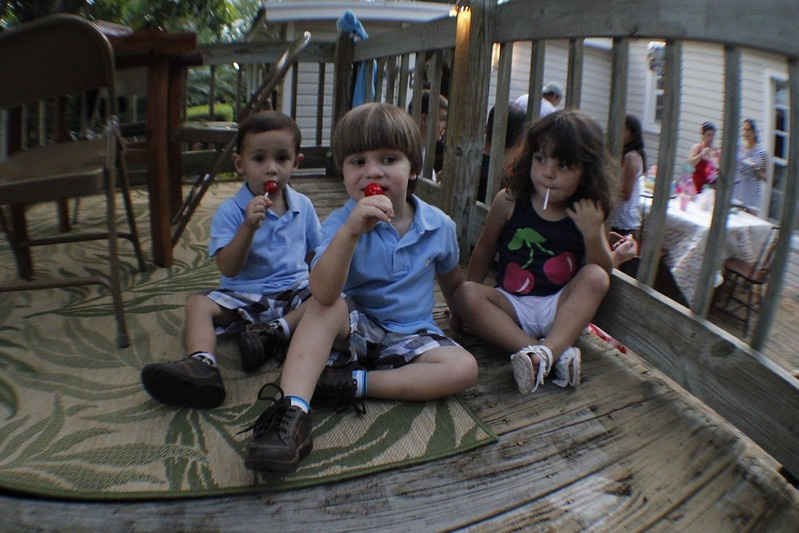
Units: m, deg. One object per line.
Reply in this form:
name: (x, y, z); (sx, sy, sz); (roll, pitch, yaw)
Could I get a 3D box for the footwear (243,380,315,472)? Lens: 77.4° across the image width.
footwear: (-0.399, 0.541, 1.663); (0.188, 0.225, 0.234); (-1, 14, 1)

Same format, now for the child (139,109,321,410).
child: (-0.590, -0.095, 2.113); (0.640, 1.085, 1.058); (8, 17, 8)

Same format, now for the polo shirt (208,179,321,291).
polo shirt: (-0.641, -0.131, 2.418); (0.624, 0.539, 0.347); (-8, 12, -44)

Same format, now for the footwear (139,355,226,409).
footwear: (-0.773, 0.395, 1.831); (0.266, 0.176, 0.137); (5, 40, 0)

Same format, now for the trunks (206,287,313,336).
trunks: (-0.635, 0.162, 2.293); (0.471, 0.197, 0.247); (-1, 6, -18)

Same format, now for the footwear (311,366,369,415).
footwear: (-0.228, 0.468, 1.891); (0.291, 0.105, 0.122); (2, -6, -37)

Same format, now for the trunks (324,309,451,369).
trunks: (-0.077, 0.317, 1.934); (0.421, 0.175, 0.265); (-7, 40, 6)

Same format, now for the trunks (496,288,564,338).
trunks: (0.615, 0.210, 2.206); (0.223, 0.100, 0.217); (-3, 51, 0)

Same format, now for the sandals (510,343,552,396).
sandals: (0.534, 0.393, 2.010); (0.121, 0.224, 0.094); (-1, -4, 14)

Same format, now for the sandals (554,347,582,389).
sandals: (0.712, 0.435, 2.147); (0.071, 0.177, 0.102); (4, 17, -4)
